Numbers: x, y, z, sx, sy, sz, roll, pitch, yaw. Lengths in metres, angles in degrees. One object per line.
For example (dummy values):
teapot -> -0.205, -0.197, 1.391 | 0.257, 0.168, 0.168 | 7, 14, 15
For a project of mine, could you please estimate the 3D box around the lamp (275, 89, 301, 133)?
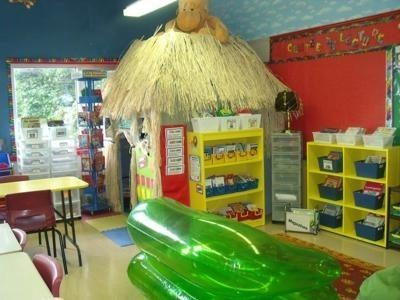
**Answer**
lamp -> 1.506, -0.672, 5.372 | 0.408, 0.694, 0.596 | 1, 9, 18

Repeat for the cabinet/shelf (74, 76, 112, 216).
cabinet/shelf -> -2.093, -0.536, 6.000 | 0.464, 1.917, 0.446 | 1, -5, 9
